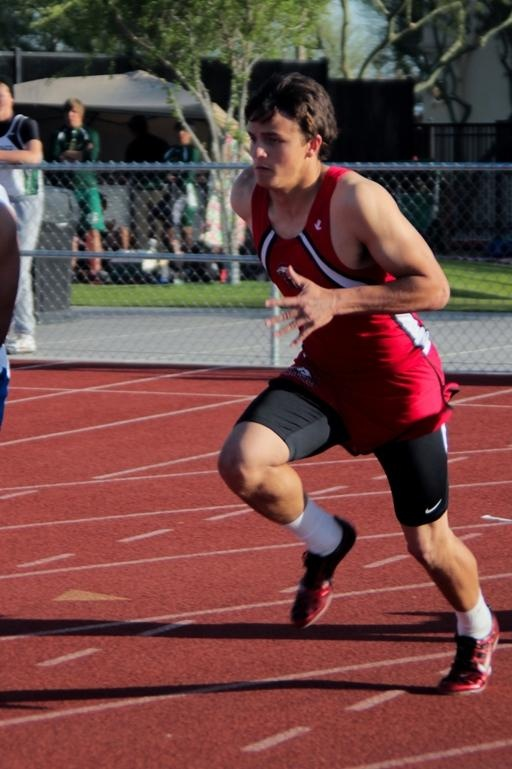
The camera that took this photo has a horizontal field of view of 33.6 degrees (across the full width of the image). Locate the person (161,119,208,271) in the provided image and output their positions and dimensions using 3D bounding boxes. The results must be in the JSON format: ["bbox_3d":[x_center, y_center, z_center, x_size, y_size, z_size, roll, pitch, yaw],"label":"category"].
[{"bbox_3d":[-1.096,-2.717,11.948,0.612,1.658,0.608,6,13,-20],"label":"person"}]

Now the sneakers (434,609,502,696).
[{"bbox_3d":[0.516,0.651,2.067,0.082,0.082,0.216,-4,31,41],"label":"sneakers"}]

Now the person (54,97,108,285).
[{"bbox_3d":[-2.218,-2.438,10.602,0.605,2.264,1.560,-1,5,-10],"label":"person"}]

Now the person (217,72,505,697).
[{"bbox_3d":[0.219,-0.009,2.031,0.694,1.499,0.612,2,6,22],"label":"person"}]
